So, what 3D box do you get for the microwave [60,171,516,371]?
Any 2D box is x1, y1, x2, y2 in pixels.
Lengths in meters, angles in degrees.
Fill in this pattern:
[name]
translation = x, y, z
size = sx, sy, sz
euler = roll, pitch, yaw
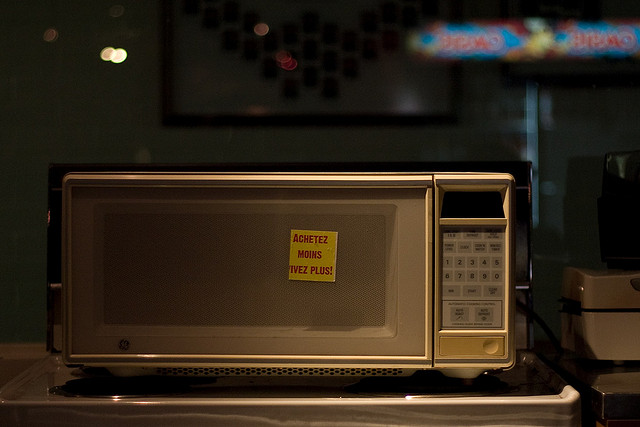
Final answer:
[microwave]
translation = -0.108, 0.166, 2.141
size = 1.250, 0.570, 0.710
euler = 1, 1, -10
